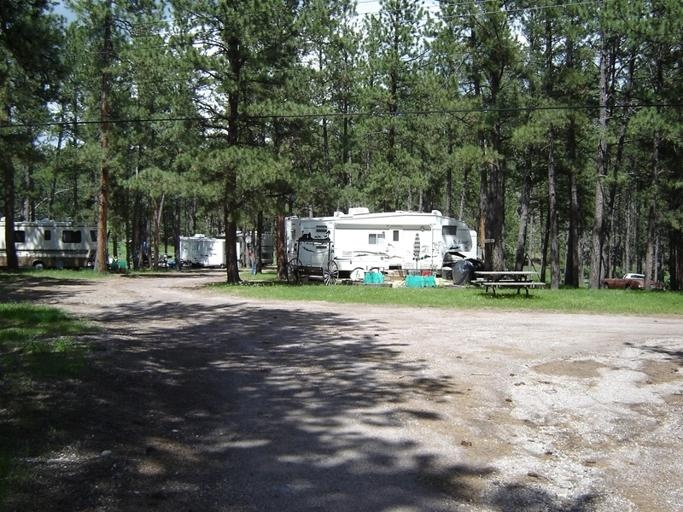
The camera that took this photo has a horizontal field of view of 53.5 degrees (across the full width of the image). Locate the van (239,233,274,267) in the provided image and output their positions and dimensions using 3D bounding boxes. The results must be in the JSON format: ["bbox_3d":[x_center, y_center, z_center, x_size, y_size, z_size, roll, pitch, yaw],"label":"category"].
[{"bbox_3d":[-6.126,-0.404,49.406,1.911,2.181,1.402,2,16,7],"label":"van"}]

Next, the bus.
[{"bbox_3d":[-17.199,-0.664,40.983,5.538,3.495,2.578,-1,3,-12],"label":"bus"}]
